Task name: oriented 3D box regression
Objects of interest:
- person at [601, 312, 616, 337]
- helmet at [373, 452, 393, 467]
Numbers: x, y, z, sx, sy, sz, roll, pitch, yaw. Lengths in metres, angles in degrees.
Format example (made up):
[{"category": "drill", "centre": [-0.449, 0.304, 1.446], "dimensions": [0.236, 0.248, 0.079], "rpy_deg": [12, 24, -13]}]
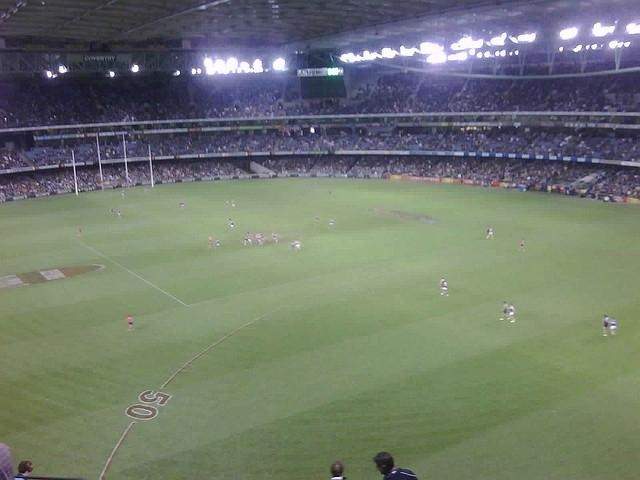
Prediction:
[{"category": "person", "centre": [17.361, 5.057, 35.217], "dimensions": [0.742, 1.091, 1.219], "rpy_deg": [3, 14, 26]}, {"category": "helmet", "centre": [1.754, 6.141, 16.625], "dimensions": [0.489, 0.440, 0.373], "rpy_deg": [-5, 19, -2]}]
